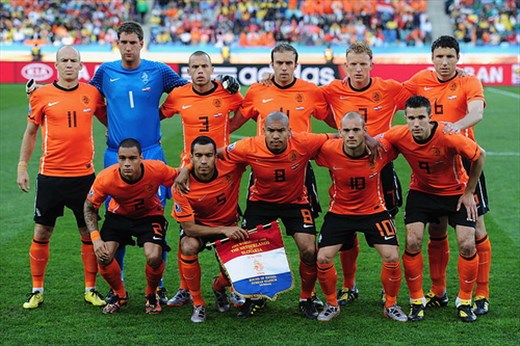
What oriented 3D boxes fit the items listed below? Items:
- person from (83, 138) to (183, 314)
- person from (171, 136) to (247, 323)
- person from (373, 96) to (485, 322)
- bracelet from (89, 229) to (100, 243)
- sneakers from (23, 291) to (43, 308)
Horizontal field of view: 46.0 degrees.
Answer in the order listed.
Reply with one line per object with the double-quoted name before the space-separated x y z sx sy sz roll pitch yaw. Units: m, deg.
"person" -1.688 0.676 8.042 1.178 2.245 0.700 -5 12 -15
"person" -0.657 0.668 8.028 0.923 2.307 0.715 -5 12 -15
"person" 2.255 0.582 7.922 1.154 2.454 0.831 2 12 19
"bracelet" -2.138 0.810 7.994 0.139 0.139 0.134 -8 -19 -44
"sneakers" -3.015 1.664 8.071 0.251 0.180 0.199 -4 12 -10
